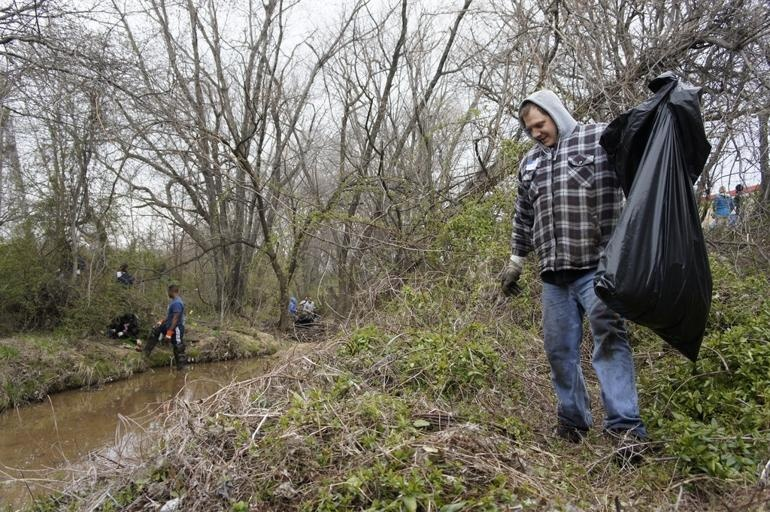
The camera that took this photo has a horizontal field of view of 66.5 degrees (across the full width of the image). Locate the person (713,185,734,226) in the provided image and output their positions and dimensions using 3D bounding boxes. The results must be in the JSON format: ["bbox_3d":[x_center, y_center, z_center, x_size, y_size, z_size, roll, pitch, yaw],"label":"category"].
[{"bbox_3d":[5.188,-0.752,8.994,0.264,0.545,0.908,0,4,29],"label":"person"}]

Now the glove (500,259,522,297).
[{"bbox_3d":[1.337,0.247,6.537,0.123,0.372,0.284,14,15,21],"label":"glove"}]

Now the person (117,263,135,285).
[{"bbox_3d":[-7.081,0.499,15.935,0.349,0.537,0.975,-4,4,-22],"label":"person"}]

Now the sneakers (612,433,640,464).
[{"bbox_3d":[2.340,1.829,5.598,0.229,0.265,0.208,0,4,34],"label":"sneakers"}]

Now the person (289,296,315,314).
[{"bbox_3d":[-2.492,1.456,17.491,0.773,0.440,0.564,-6,-11,37],"label":"person"}]

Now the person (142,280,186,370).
[{"bbox_3d":[-4.726,1.495,12.697,0.867,1.743,1.072,-5,4,-42],"label":"person"}]

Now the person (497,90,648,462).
[{"bbox_3d":[1.935,0.079,6.012,1.331,3.572,0.601,-1,4,27],"label":"person"}]
